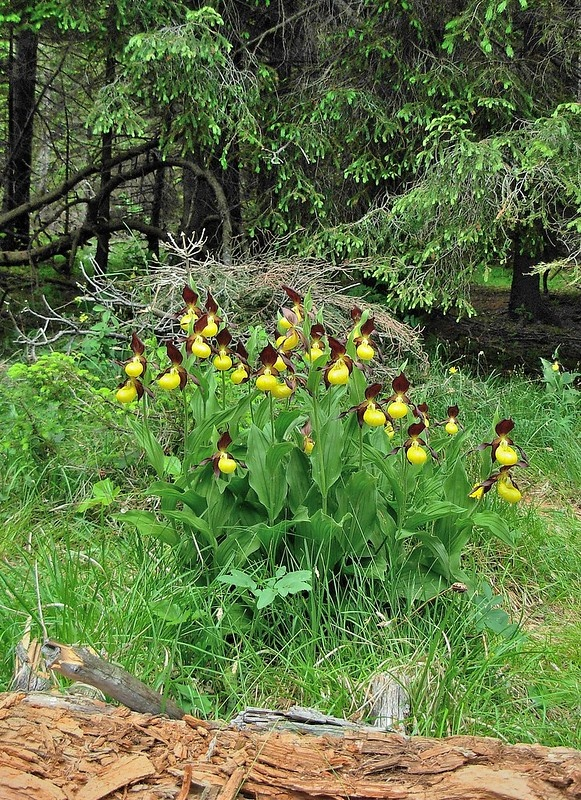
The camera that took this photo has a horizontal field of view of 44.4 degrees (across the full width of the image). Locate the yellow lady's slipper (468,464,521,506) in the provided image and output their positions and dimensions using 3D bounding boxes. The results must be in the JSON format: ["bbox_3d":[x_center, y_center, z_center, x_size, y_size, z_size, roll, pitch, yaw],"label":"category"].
[{"bbox_3d":[0.734,0.297,2.557,0.139,0.180,0.251,6,11,7],"label":"yellow lady's slipper"}]

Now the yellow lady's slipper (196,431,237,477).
[{"bbox_3d":[-0.284,0.206,2.700,0.136,0.147,0.111,15,-35,-24],"label":"yellow lady's slipper"}]

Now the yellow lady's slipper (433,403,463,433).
[{"bbox_3d":[0.880,0.094,3.966,0.151,0.139,0.061,16,19,-10],"label":"yellow lady's slipper"}]

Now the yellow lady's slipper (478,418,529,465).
[{"bbox_3d":[0.766,0.143,2.494,0.116,0.187,0.203,7,11,12],"label":"yellow lady's slipper"}]

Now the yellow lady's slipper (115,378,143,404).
[{"bbox_3d":[-0.583,-0.027,2.553,0.082,0.039,0.107,18,49,8],"label":"yellow lady's slipper"}]
